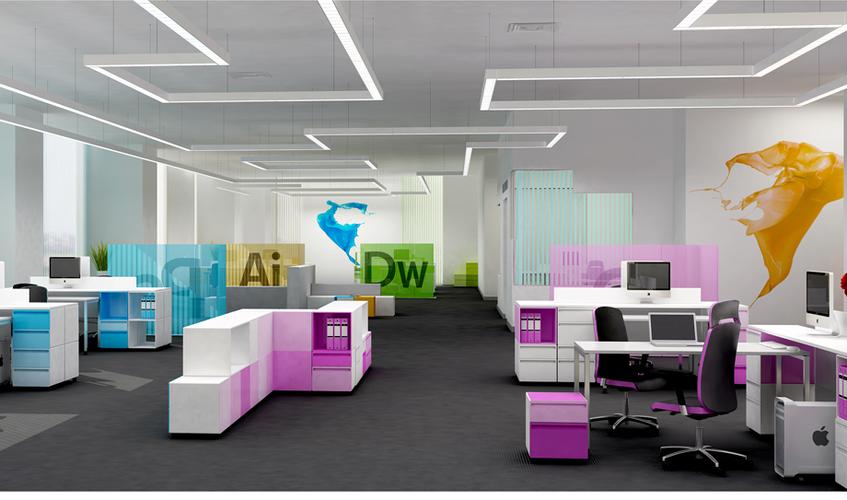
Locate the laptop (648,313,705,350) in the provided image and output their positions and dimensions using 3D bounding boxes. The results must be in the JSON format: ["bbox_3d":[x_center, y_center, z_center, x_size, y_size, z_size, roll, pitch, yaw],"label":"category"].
[{"bbox_3d":[3.826,1.227,9.784,0.750,0.367,0.515,0,-2,-6],"label":"laptop"}]

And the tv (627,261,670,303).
[{"bbox_3d":[4.222,0.610,12.082,0.815,0.660,0.227,0,0,1],"label":"tv"}]

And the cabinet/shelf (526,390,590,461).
[{"bbox_3d":[1.878,2.525,9.301,1.014,0.774,0.899,0,-6,-1],"label":"cabinet/shelf"}]

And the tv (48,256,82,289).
[{"bbox_3d":[-8.094,0.531,14.607,0.897,0.736,0.285,-1,0,16],"label":"tv"}]

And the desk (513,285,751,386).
[{"bbox_3d":[3.797,1.470,11.662,3.904,1.404,0.892,-4,4,21],"label":"desk"}]
